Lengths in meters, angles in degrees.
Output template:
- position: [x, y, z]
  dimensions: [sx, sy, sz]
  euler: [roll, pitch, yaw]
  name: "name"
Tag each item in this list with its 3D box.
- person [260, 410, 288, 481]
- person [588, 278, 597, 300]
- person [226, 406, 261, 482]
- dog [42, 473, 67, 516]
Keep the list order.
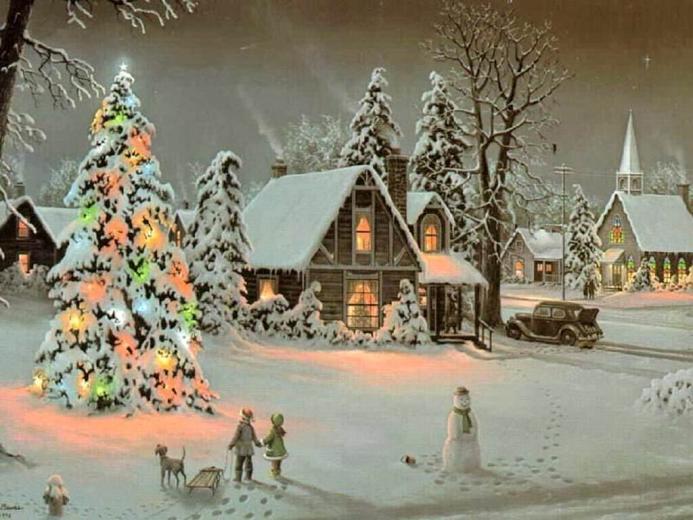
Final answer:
- position: [-2.045, 5.108, 28.026]
  dimensions: [0.686, 1.746, 0.876]
  euler: [1, 8, -3]
  name: "person"
- position: [19.057, 2.173, 79.351]
  dimensions: [0.536, 1.488, 1.199]
  euler: [6, 9, 33]
  name: "person"
- position: [-2.899, 5.058, 27.975]
  dimensions: [0.826, 1.905, 1.589]
  euler: [0, 8, -6]
  name: "person"
- position: [-7.457, 5.932, 25.717]
  dimensions: [0.600, 1.008, 0.625]
  euler: [-1, 8, -18]
  name: "dog"
